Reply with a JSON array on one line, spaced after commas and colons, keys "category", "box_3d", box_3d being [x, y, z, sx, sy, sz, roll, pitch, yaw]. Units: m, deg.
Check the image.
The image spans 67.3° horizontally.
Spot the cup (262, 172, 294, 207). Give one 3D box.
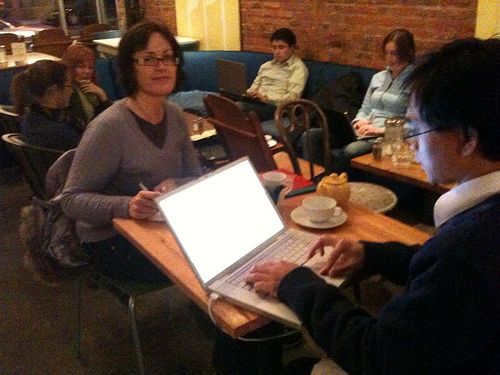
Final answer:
[{"category": "cup", "box_3d": [0.147, 0.012, 1.507, 0.173, 0.130, 0.103, 5, 8, 7]}]

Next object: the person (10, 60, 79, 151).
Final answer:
[{"category": "person", "box_3d": [-1.618, -0.663, 2.963, 0.505, 0.626, 0.763, -10, 28, -32]}]

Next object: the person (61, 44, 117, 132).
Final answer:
[{"category": "person", "box_3d": [-1.665, -0.911, 3.905, 0.519, 1.092, 0.419, -5, 33, -11]}]

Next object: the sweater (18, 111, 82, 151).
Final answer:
[{"category": "sweater", "box_3d": [-1.413, -0.392, 2.604, 0.499, 0.167, 0.340, 18, 13, -16]}]

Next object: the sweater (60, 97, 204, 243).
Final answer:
[{"category": "sweater", "box_3d": [-0.536, -0.157, 1.740, 0.393, 0.461, 0.673, 8, 25, 20]}]

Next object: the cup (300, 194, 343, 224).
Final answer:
[{"category": "cup", "box_3d": [0.263, 0.073, 1.386, 0.109, 0.055, 0.125, -19, 33, -33]}]
